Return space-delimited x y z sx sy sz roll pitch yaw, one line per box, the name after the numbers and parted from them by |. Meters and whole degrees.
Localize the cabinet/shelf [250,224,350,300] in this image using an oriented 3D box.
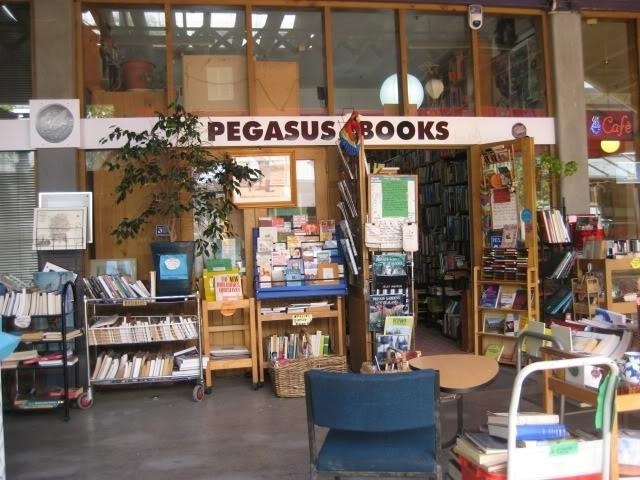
-0.252 0.290 7.283 1.320 1.199 0.739 0 -5 -7 | cabinet/shelf

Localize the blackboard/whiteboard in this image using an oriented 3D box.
0.867 -0.330 6.970 0.611 0.894 0.499 1 9 13 | blackboard/whiteboard

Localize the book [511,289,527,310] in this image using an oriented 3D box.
2.388 0.708 7.308 0.047 0.201 0.220 11 33 -8 | book

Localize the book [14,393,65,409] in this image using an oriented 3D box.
-2.868 1.670 6.232 0.527 0.115 0.150 -1 7 7 | book

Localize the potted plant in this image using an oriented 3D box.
-1.661 -0.455 7.041 2.221 2.776 1.017 0 -1 -13 | potted plant

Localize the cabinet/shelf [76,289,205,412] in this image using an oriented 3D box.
-1.998 1.213 6.879 1.305 1.233 1.068 -2 -10 -11 | cabinet/shelf

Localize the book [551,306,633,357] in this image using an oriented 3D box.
2.022 0.585 4.572 0.387 0.187 0.491 -36 28 -28 | book

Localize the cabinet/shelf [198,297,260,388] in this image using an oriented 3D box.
-1.055 1.161 7.155 0.626 1.043 0.795 -1 1 -5 | cabinet/shelf

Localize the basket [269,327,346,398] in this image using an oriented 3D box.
-0.213 1.327 6.787 0.642 0.412 0.945 -1 -6 -3 | basket

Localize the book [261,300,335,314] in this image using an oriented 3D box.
-0.255 0.782 7.057 0.891 0.105 0.245 -4 8 -17 | book

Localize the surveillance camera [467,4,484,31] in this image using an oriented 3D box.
2.030 -2.890 7.961 0.241 0.315 0.115 -3 6 -15 | surveillance camera

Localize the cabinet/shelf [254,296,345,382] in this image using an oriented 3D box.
-0.247 1.074 7.154 0.992 1.031 0.447 -2 1 -11 | cabinet/shelf

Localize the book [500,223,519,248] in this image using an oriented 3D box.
2.307 -0.051 7.431 0.201 0.405 0.282 1 -2 4 | book

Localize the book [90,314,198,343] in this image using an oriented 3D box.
-1.896 0.960 6.731 1.148 0.255 0.471 -2 7 -5 | book

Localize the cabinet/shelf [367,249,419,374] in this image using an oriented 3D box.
0.791 0.764 6.657 0.447 1.366 0.162 -1 18 14 | cabinet/shelf

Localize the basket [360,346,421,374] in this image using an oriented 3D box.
0.657 1.092 5.443 0.391 0.265 0.405 1 -5 -11 | basket

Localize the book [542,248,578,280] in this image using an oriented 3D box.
2.880 0.302 7.398 0.411 0.350 0.169 -2 6 -4 | book

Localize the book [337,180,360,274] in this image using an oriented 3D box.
0.333 -0.158 7.106 0.252 1.062 0.313 -9 -17 10 | book

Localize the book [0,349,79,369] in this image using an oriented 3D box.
-2.868 1.198 6.123 0.563 0.160 0.155 -4 7 -15 | book

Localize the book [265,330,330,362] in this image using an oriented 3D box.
-0.252 1.213 7.046 0.501 0.179 0.385 -1 1 -12 | book
